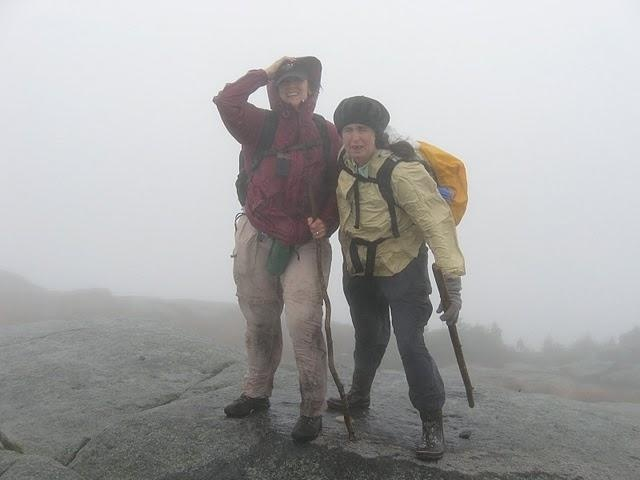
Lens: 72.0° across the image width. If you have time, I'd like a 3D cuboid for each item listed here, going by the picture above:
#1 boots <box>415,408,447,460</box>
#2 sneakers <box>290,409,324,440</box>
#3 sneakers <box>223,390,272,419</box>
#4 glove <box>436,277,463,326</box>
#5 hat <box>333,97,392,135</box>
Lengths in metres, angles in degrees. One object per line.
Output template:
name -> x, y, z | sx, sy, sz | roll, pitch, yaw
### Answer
boots -> 0.974, 1.696, 3.847 | 0.164, 0.351, 0.463 | 3, -6, 2
sneakers -> -0.105, 1.675, 3.992 | 0.218, 0.206, 0.374 | 5, 2, 17
sneakers -> -0.720, 1.617, 4.426 | 0.442, 0.223, 0.175 | 2, 4, -30
glove -> 1.105, 0.511, 3.776 | 0.182, 0.432, 0.426 | 4, 1, 17
hat -> 0.387, -1.154, 4.111 | 0.503, 0.313, 0.265 | 5, 1, 4
